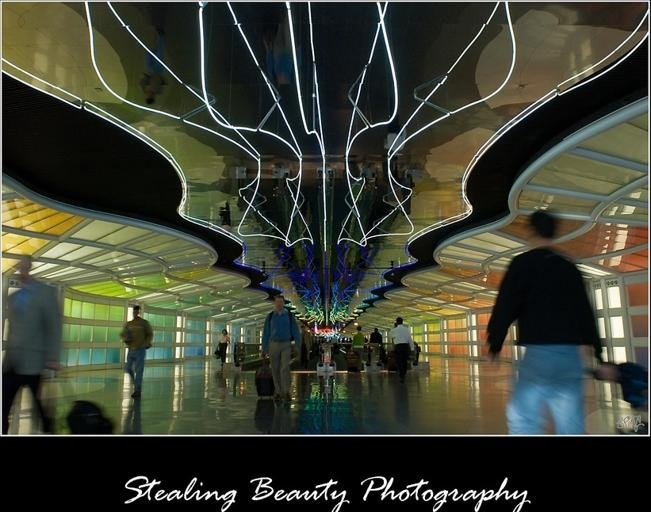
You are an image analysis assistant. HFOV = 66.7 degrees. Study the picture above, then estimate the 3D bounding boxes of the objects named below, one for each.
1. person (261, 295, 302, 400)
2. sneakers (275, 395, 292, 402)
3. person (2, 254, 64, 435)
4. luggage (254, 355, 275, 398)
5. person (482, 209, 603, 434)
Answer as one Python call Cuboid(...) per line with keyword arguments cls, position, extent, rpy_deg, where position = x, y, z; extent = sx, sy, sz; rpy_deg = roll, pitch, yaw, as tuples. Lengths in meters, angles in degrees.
Cuboid(cls="person", position=(-0.922, 1.800, 9.776), extent=(0.723, 2.095, 1.230), rpy_deg=(3, -12, -6))
Cuboid(cls="sneakers", position=(-0.859, 2.847, 9.811), extent=(0.141, 0.157, 0.392), rpy_deg=(13, -31, -29))
Cuboid(cls="person", position=(-3.236, 0.790, 5.411), extent=(0.584, 1.573, 0.264), rpy_deg=(7, -13, -25))
Cuboid(cls="luggage", position=(-1.178, 2.617, 10.526), extent=(0.470, 0.778, 0.553), rpy_deg=(-10, -14, 26))
Cuboid(cls="person", position=(1.686, 0.520, 3.933), extent=(0.870, 1.693, 0.318), rpy_deg=(2, -12, -3))
